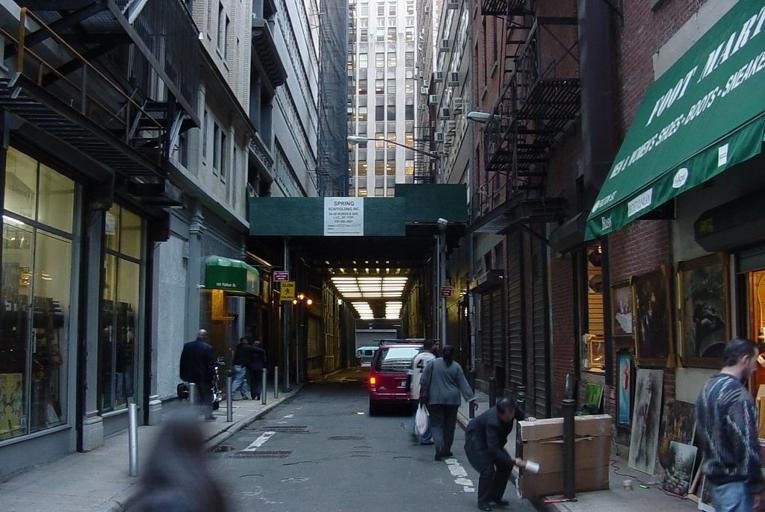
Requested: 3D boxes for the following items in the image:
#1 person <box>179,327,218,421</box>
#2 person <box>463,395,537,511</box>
[{"bbox_3d":[-4.677,3.017,18.289,0.847,2.375,0.624,4,9,6],"label":"person"},{"bbox_3d":[1.699,3.035,11.056,0.861,1.642,0.681,-2,-12,6],"label":"person"}]
